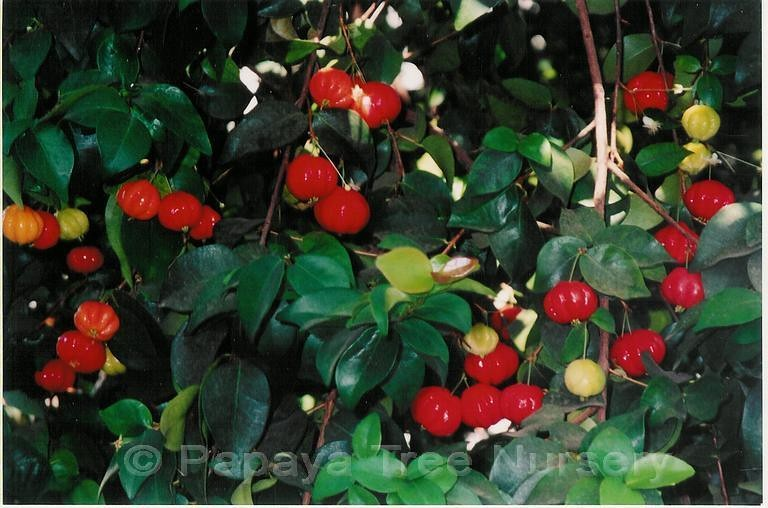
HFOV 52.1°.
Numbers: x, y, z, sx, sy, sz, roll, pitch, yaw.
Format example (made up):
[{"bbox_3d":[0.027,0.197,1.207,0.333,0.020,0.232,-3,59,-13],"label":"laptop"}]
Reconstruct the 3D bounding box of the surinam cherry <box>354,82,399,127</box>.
[{"bbox_3d":[-0.011,-0.258,1.347,0.076,0.073,0.037,-4,-18,-1],"label":"surinam cherry"}]

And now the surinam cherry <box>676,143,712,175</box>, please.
[{"bbox_3d":[0.559,-0.235,1.381,0.055,0.075,0.062,11,-3,28],"label":"surinam cherry"}]

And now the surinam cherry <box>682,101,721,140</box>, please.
[{"bbox_3d":[0.548,-0.239,1.380,0.057,0.071,0.058,-16,20,-36],"label":"surinam cherry"}]

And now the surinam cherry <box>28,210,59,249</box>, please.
[{"bbox_3d":[-0.575,-0.041,1.345,0.049,0.068,0.056,-4,6,2],"label":"surinam cherry"}]

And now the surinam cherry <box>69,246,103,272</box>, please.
[{"bbox_3d":[-0.521,0.009,1.364,0.045,0.050,0.047,-24,-25,12],"label":"surinam cherry"}]

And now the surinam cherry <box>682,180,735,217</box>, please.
[{"bbox_3d":[0.560,-0.096,1.356,0.058,0.075,0.058,4,5,38],"label":"surinam cherry"}]

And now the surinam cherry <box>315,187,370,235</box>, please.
[{"bbox_3d":[-0.069,-0.071,1.316,0.070,0.081,0.076,-9,18,-43],"label":"surinam cherry"}]

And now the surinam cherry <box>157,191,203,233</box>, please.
[{"bbox_3d":[-0.350,-0.072,1.344,0.074,0.060,0.039,-1,-19,-11],"label":"surinam cherry"}]

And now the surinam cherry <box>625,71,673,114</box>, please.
[{"bbox_3d":[0.456,-0.280,1.360,0.074,0.074,0.070,0,0,-21],"label":"surinam cherry"}]

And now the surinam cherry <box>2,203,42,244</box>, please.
[{"bbox_3d":[-0.618,-0.052,1.341,0.067,0.062,0.045,-13,-20,24],"label":"surinam cherry"}]
